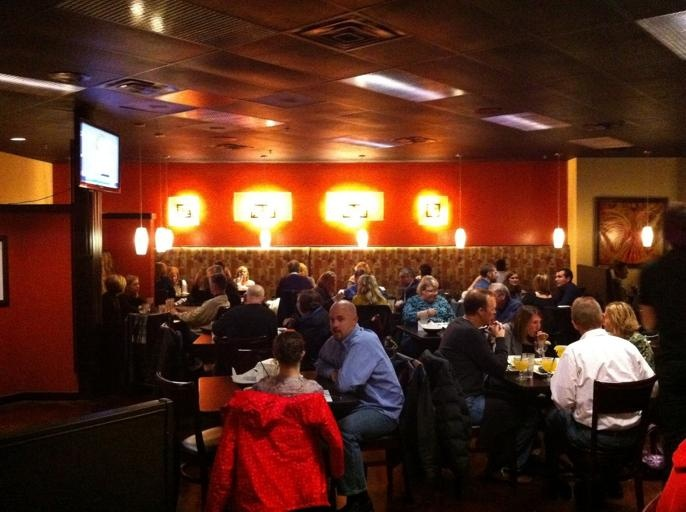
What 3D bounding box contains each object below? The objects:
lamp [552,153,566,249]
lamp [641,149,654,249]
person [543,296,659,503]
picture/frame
[{"bbox_3d":[4.593,-1.093,11.669,0.291,1.927,0.912,0,1,20],"label":"lamp"},{"bbox_3d":[6.212,-0.982,11.221,0.256,1.715,0.628,1,1,29],"label":"lamp"},{"bbox_3d":[1.835,1.085,4.029,0.755,1.523,0.632,1,1,29],"label":"person"},{"bbox_3d":[5.982,-0.471,11.446,1.787,1.508,0.101,-1,2,-12],"label":"picture/frame"}]
